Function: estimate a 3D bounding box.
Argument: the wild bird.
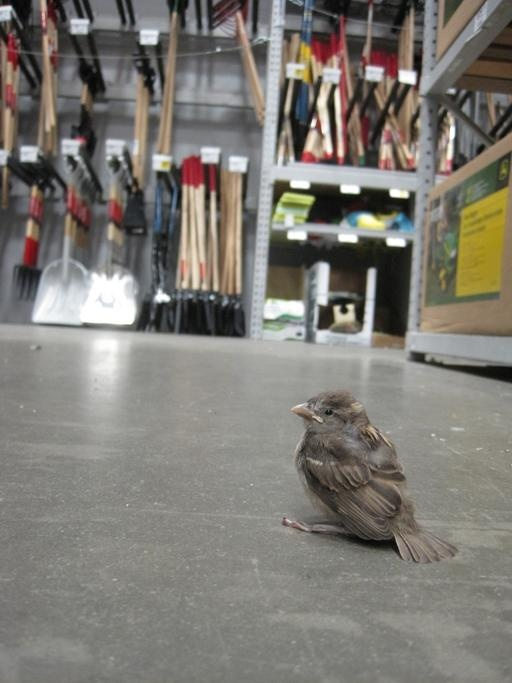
[{"bbox_3d":[0.082,0.087,0.502,0.076,0.119,0.122,1,11,-45],"label":"wild bird"}]
